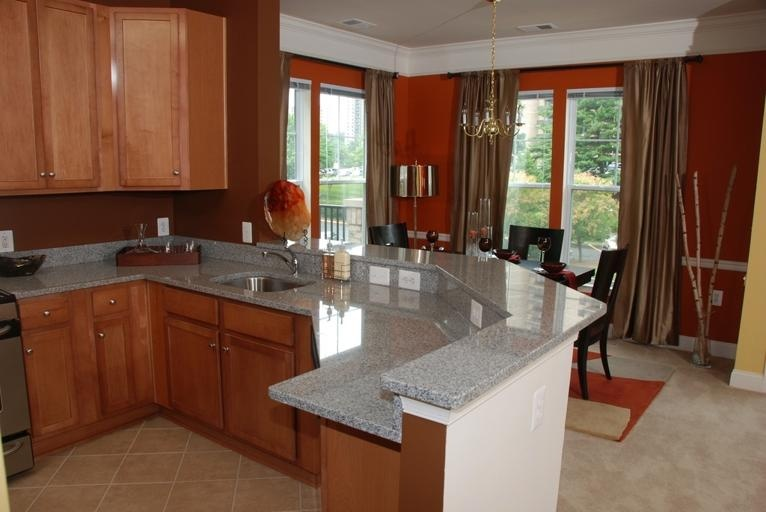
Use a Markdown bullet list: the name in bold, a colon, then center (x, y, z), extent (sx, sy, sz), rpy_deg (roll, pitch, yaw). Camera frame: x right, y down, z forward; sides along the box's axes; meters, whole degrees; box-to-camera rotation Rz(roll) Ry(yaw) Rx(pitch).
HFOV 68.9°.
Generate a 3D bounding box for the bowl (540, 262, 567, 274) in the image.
- **bowl**: center (1.523, 0.105, 5.031), extent (0.191, 0.105, 0.176), rpy_deg (-6, 12, 1)

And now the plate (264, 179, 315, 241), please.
- **plate**: center (-0.784, -0.356, 4.504), extent (0.355, 0.503, 0.240), rpy_deg (-7, 13, -6)

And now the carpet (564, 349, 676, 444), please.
- **carpet**: center (2.036, 1.281, 5.030), extent (0.516, 0.013, 1.084), rpy_deg (7, 14, 31)

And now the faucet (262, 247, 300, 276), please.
- **faucet**: center (-0.835, 0.044, 4.439), extent (0.413, 0.206, 0.218), rpy_deg (5, 16, 40)

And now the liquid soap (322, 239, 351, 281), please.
- **liquid soap**: center (-0.357, 0.044, 4.231), extent (0.305, 0.347, 0.115), rpy_deg (4, 7, 36)
